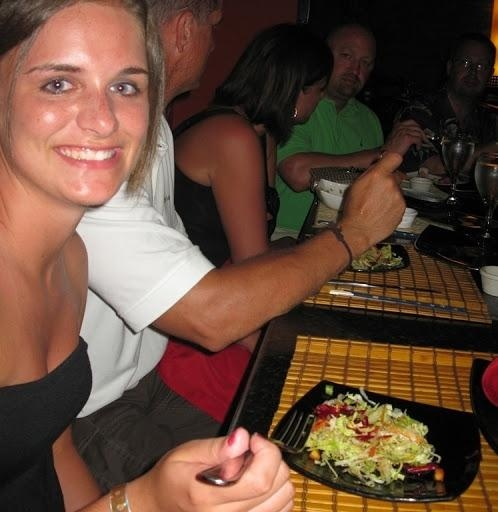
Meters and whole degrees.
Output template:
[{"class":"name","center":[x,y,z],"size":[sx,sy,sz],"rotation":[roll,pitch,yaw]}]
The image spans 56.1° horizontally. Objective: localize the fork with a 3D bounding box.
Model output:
[{"class":"fork","center":[0.034,0.263,0.694],"size":[0.055,0.033,0.271],"rotation":[-14,2,36]}]

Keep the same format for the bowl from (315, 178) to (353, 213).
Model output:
[{"class":"bowl","center":[0.379,-0.272,2.112],"size":[0.152,0.094,0.156],"rotation":[-2,25,1]}]

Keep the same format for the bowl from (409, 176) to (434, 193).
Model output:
[{"class":"bowl","center":[0.889,-0.358,2.402],"size":[0.105,0.042,0.090],"rotation":[1,26,5]}]

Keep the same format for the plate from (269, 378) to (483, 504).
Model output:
[{"class":"plate","center":[0.204,0.288,0.740],"size":[0.287,0.046,0.232],"rotation":[14,31,22]}]
